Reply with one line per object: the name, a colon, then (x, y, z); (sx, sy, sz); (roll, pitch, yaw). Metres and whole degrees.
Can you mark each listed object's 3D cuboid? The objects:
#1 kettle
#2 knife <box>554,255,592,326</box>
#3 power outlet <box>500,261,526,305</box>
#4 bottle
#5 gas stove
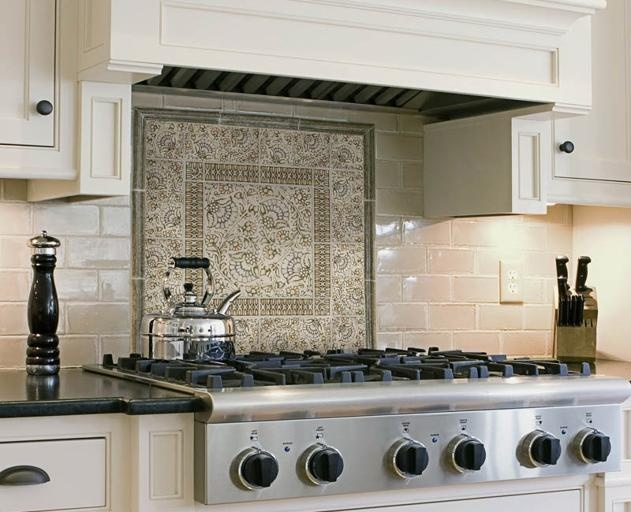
kettle: (-0.341, 0.136, 2.534); (0.271, 0.287, 0.347); (1, -3, -11)
knife: (0.821, 0.114, 2.944); (0.110, 0.222, 0.116); (-1, -3, 16)
power outlet: (0.650, 0.086, 3.084); (0.091, 0.140, 0.014); (1, -1, -19)
bottle: (-0.700, 0.121, 2.379); (0.079, 0.368, 0.088); (1, -4, -25)
gas stove: (0.057, 0.279, 2.370); (1.136, 0.056, 0.642); (1, -4, -19)
